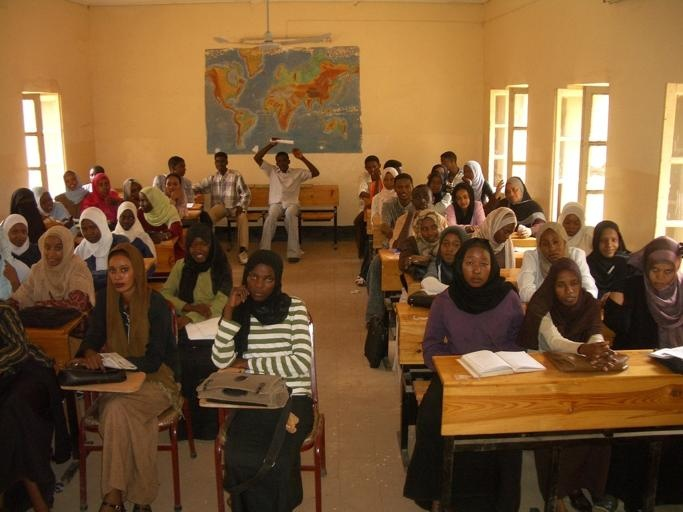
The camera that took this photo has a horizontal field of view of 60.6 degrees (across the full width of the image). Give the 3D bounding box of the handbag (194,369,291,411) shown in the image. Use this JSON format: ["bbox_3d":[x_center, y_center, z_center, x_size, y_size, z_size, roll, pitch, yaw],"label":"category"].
[{"bbox_3d":[-0.534,0.710,3.137,0.339,0.120,0.240,3,2,5],"label":"handbag"}]
